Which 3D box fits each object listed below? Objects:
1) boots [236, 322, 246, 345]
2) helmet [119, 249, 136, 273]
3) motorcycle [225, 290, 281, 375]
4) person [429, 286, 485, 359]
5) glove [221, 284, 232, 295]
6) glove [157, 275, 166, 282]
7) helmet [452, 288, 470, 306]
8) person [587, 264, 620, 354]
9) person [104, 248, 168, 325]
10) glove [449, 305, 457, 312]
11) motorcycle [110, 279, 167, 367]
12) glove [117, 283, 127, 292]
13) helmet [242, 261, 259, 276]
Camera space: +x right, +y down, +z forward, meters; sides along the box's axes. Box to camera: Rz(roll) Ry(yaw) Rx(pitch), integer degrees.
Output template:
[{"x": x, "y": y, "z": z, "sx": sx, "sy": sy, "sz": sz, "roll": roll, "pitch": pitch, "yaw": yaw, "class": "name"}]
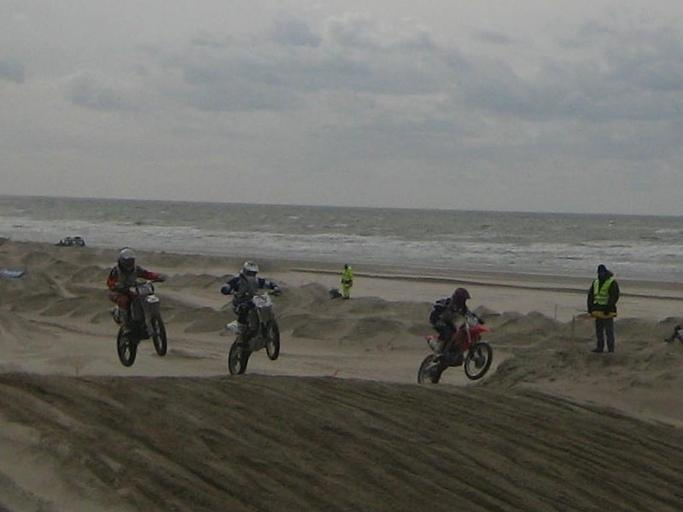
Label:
[{"x": -1.832, "y": 1.399, "z": 13.014, "sx": 0.162, "sy": 0.404, "sz": 0.117, "roll": 2, "pitch": 4, "yaw": 0, "class": "boots"}, {"x": -3.922, "y": 0.058, "z": 12.920, "sx": 0.295, "sy": 0.411, "sz": 0.541, "roll": 1, "pitch": 4, "yaw": -17, "class": "helmet"}, {"x": -1.639, "y": 1.427, "z": 13.161, "sx": 0.946, "sy": 1.514, "sz": 0.758, "roll": 2, "pitch": 4, "yaw": 3, "class": "motorcycle"}, {"x": 1.982, "y": 1.169, "z": 12.614, "sx": 0.840, "sy": 1.253, "sz": 0.765, "roll": 9, "pitch": -8, "yaw": -6, "class": "person"}, {"x": -2.116, "y": 0.601, "z": 12.990, "sx": 0.180, "sy": 0.207, "sz": 0.566, "roll": 1, "pitch": 3, "yaw": -10, "class": "glove"}, {"x": -3.303, "y": 0.422, "z": 12.995, "sx": 0.152, "sy": 0.134, "sz": 0.191, "roll": -5, "pitch": 10, "yaw": -14, "class": "glove"}, {"x": 2.092, "y": 0.703, "z": 12.566, "sx": 0.281, "sy": 0.287, "sz": 0.438, "roll": 2, "pitch": 3, "yaw": 7, "class": "helmet"}, {"x": 4.919, "y": 0.974, "z": 13.358, "sx": 0.508, "sy": 1.620, "sz": 0.811, "roll": 2, "pitch": 4, "yaw": 12, "class": "person"}, {"x": -3.843, "y": 0.557, "z": 12.992, "sx": 0.841, "sy": 1.411, "sz": 0.577, "roll": 1, "pitch": 4, "yaw": -9, "class": "person"}, {"x": 1.957, "y": 0.909, "z": 12.510, "sx": 0.130, "sy": 0.116, "sz": 0.031, "roll": -1, "pitch": -7, "yaw": 5, "class": "glove"}, {"x": -3.649, "y": 1.324, "z": 13.408, "sx": 0.903, "sy": 1.122, "sz": 1.840, "roll": 1, "pitch": -21, "yaw": -35, "class": "motorcycle"}, {"x": -3.982, "y": 0.565, "z": 12.889, "sx": 0.163, "sy": 0.142, "sz": 0.075, "roll": 1, "pitch": 4, "yaw": -17, "class": "glove"}, {"x": -1.716, "y": 0.206, "z": 13.139, "sx": 0.241, "sy": 0.242, "sz": 0.309, "roll": 7, "pitch": 21, "yaw": -45, "class": "helmet"}]
